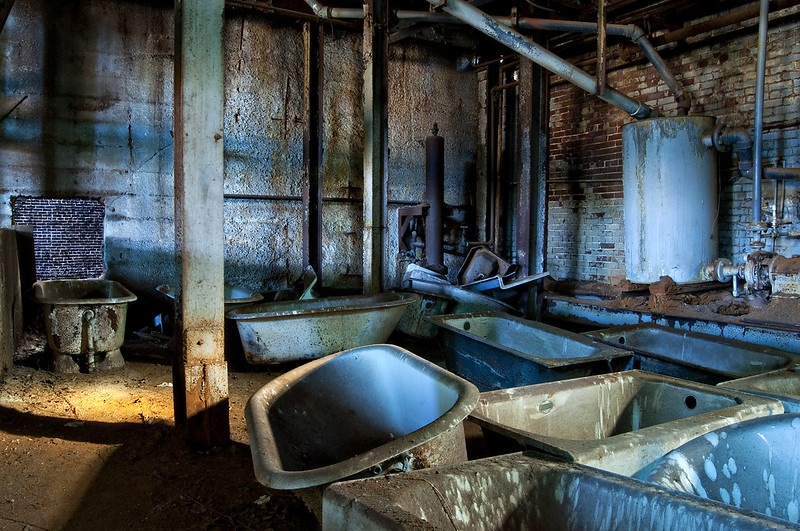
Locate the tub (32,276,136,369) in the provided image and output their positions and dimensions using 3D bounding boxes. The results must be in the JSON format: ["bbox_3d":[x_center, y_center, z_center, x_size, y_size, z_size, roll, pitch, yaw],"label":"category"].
[{"bbox_3d":[-3.820,0.699,7.446,1.076,0.803,1.706,-2,9,-31],"label":"tub"}]
